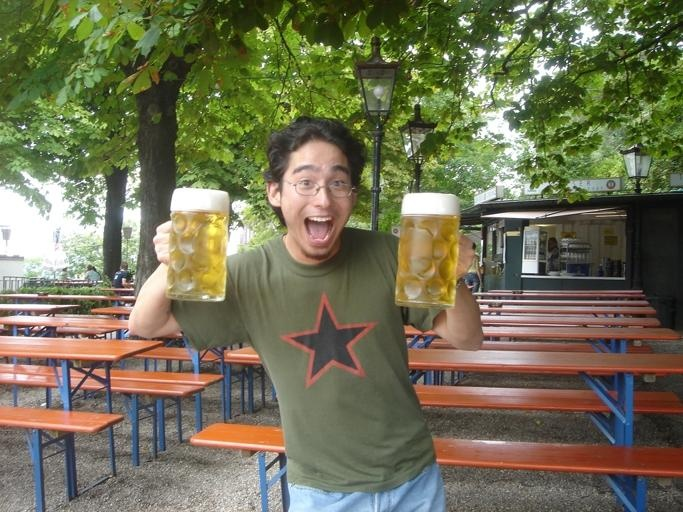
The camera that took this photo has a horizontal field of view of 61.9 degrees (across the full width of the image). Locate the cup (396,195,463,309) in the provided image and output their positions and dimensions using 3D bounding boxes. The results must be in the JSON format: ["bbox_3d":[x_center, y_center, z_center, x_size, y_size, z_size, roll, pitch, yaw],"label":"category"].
[{"bbox_3d":[0.358,-0.027,2.371,0.268,0.472,0.116,-1,2,5],"label":"cup"}]

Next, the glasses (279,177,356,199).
[{"bbox_3d":[-0.096,-0.296,2.503,0.276,0.082,0.039,-1,1,-1],"label":"glasses"}]

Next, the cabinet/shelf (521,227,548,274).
[{"bbox_3d":[5.715,-0.162,16.971,0.684,1.399,0.550,-1,2,15],"label":"cabinet/shelf"}]
